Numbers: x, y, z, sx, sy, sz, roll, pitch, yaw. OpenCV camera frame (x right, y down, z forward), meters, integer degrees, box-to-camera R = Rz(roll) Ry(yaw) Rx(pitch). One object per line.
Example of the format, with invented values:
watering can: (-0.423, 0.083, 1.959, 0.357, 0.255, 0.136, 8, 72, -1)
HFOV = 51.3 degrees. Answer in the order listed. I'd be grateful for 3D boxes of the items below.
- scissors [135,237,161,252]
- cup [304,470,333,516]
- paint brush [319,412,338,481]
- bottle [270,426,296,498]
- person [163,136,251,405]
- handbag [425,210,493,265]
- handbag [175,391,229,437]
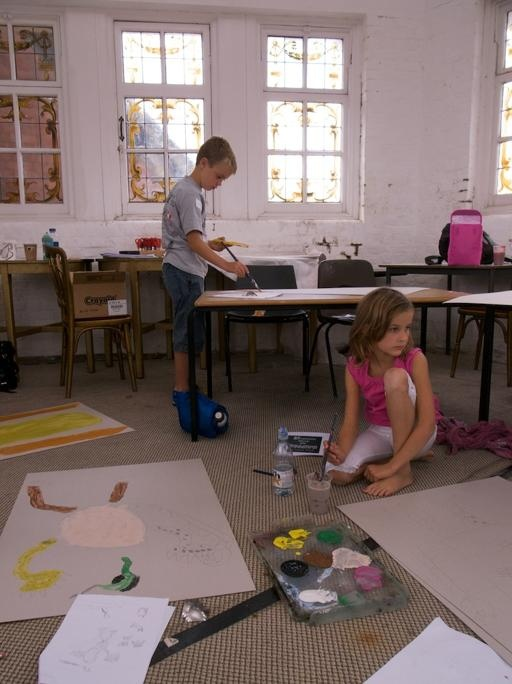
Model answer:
scissors: (-0.754, -0.687, 3.746, 0.122, 0.075, 0.150, -2, 10, -9)
cup: (0.176, 0.429, 1.525, 0.080, 0.091, 0.081, -1, 11, 0)
paint brush: (0.260, 0.373, 1.903, 0.024, 0.171, 0.024, 11, -27, 18)
bottle: (0.090, 0.357, 1.724, 0.075, 0.214, 0.199, -1, 8, 3)
person: (-0.235, -0.347, 2.375, 0.357, 1.106, 0.485, -2, 8, -10)
handbag: (1.365, -0.630, 3.478, 0.319, 0.403, 0.184, 13, 8, 38)
handbag: (-0.239, 0.295, 2.236, 0.225, 0.093, 0.153, 14, 36, 27)
